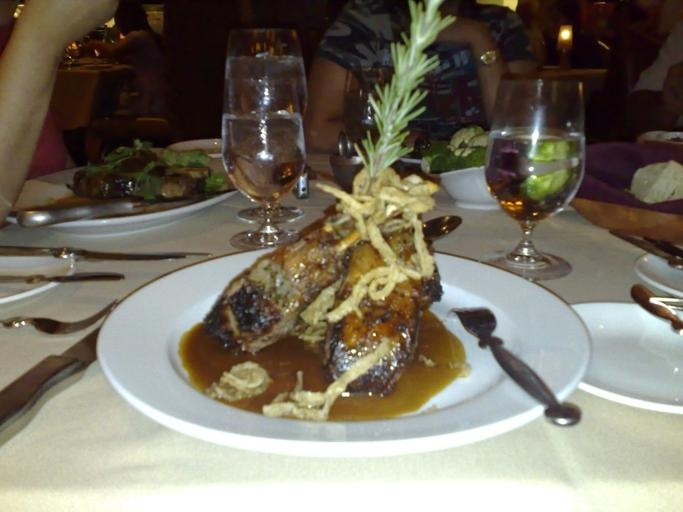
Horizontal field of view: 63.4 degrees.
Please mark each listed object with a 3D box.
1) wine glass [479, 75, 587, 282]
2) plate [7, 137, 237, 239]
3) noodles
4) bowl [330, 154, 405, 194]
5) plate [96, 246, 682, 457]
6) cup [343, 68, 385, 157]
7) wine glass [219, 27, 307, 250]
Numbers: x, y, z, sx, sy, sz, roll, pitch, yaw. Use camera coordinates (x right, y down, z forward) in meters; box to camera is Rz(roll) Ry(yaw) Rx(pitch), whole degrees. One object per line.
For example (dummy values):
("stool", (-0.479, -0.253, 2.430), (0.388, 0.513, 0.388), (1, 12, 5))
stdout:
("wine glass", (0.509, -0.206, 1.489), (0.268, 0.475, 0.250), (1, 11, 4))
("plate", (-0.821, -0.252, 1.936), (0.720, 0.329, 0.820), (11, 20, 33))
("noodles", (0.014, 0.054, 1.104), (0.326, 0.400, 0.321), (-10, 16, -38))
("bowl", (0.055, -0.268, 1.769), (0.215, 0.112, 0.202), (0, 15, 0))
("plate", (0.033, 0.138, 1.050), (0.918, 0.120, 0.640), (-5, 27, -10))
("cup", (0.068, -0.476, 1.864), (0.172, 0.277, 0.324), (5, 29, 8))
("wine glass", (-0.223, -0.309, 1.662), (0.252, 0.694, 0.243), (-14, 26, -38))
